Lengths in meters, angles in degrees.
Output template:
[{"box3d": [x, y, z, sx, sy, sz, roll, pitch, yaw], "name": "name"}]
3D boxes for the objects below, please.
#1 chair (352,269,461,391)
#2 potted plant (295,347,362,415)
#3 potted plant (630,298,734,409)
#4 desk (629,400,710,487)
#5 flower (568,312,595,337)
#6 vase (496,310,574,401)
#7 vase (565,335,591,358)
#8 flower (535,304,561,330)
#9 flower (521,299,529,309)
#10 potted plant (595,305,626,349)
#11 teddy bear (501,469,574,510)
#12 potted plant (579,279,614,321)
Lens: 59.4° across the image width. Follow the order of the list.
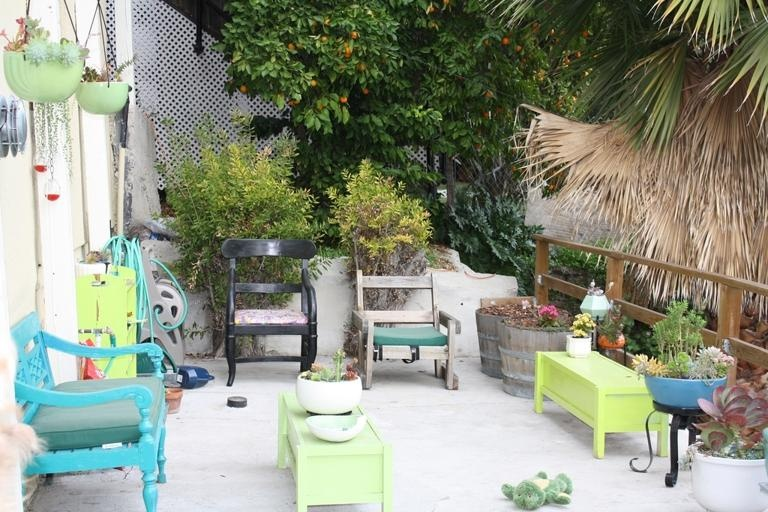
[{"box3d": [0.181, 0.678, 6.535, 0.979, 1.160, 1.080, 0, 0, -9], "name": "chair"}, {"box3d": [-0.331, 0.735, 4.131, 0.383, 0.382, 0.396, -1, 0, 15], "name": "potted plant"}, {"box3d": [1.958, 0.641, 4.367, 0.593, 0.591, 0.554, -7, 11, -41], "name": "potted plant"}, {"box3d": [1.873, 1.172, 4.424, 0.534, 0.534, 0.510, 3, -4, 5], "name": "desk"}, {"box3d": [1.624, 0.575, 5.462, 0.203, 0.215, 0.208, 0, -13, 6], "name": "flower"}, {"box3d": [1.274, 0.852, 5.908, 0.722, 0.587, 0.664, 1, -2, 35], "name": "vase"}, {"box3d": [1.549, 0.717, 5.380, 0.165, 0.128, 0.166, -1, 2, -20], "name": "vase"}, {"box3d": [1.479, 0.547, 6.014, 0.194, 0.174, 0.202, -1, 5, 1], "name": "flower"}, {"box3d": [1.429, 0.493, 6.815, 0.066, 0.030, 0.108, 3, 10, 8], "name": "flower"}, {"box3d": [1.970, 0.634, 5.852, 0.220, 0.427, 0.704, 3, 9, 18], "name": "potted plant"}, {"box3d": [0.958, 1.435, 4.105, 0.244, 0.089, 0.227, 0, -1, -40], "name": "teddy bear"}, {"box3d": [1.808, 0.378, 5.769, 0.324, 0.432, 0.335, 0, 4, 14], "name": "potted plant"}]
